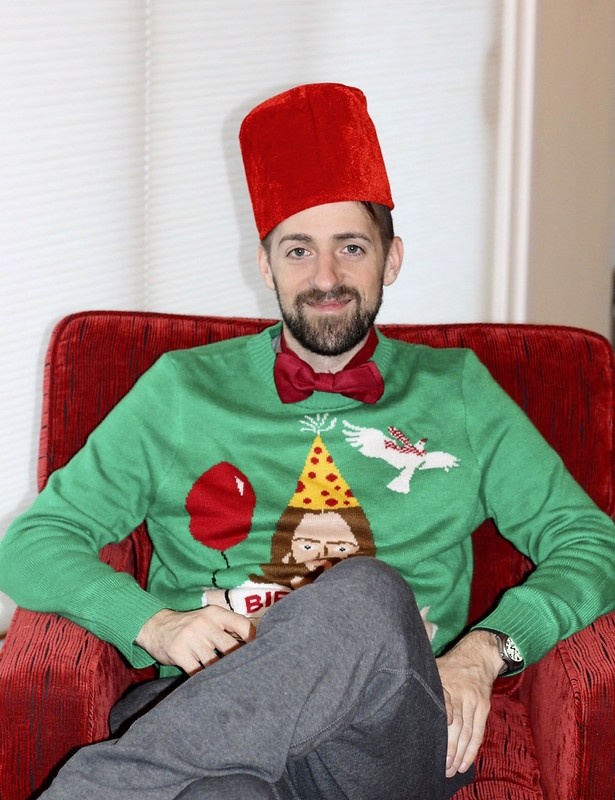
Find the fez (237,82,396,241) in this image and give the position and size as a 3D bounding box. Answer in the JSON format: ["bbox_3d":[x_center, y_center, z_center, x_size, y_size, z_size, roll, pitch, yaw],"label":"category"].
[{"bbox_3d":[0.009,-0.407,1.365,0.292,0.197,0.252,-19,-8,-10],"label":"fez"}]

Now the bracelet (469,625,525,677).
[{"bbox_3d":[0.260,0.344,1.064,0.064,0.063,0.041,-23,27,17],"label":"bracelet"}]
